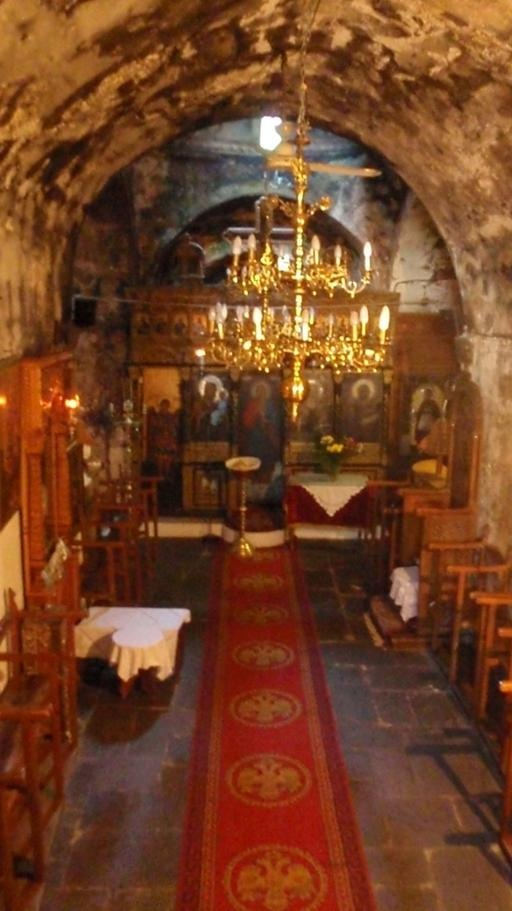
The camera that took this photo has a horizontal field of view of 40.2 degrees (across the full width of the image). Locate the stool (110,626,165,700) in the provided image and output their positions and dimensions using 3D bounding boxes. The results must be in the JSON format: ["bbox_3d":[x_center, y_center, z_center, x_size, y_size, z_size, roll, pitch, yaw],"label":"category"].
[{"bbox_3d":[-1.093,1.765,6.294,0.513,0.525,0.506,-3,14,-36],"label":"stool"}]

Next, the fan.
[{"bbox_3d":[0.667,-3.566,7.471,1.322,1.509,0.276,6,-28,-3],"label":"fan"}]

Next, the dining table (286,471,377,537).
[{"bbox_3d":[1.136,0.515,11.157,1.535,1.126,0.895,2,13,6],"label":"dining table"}]
